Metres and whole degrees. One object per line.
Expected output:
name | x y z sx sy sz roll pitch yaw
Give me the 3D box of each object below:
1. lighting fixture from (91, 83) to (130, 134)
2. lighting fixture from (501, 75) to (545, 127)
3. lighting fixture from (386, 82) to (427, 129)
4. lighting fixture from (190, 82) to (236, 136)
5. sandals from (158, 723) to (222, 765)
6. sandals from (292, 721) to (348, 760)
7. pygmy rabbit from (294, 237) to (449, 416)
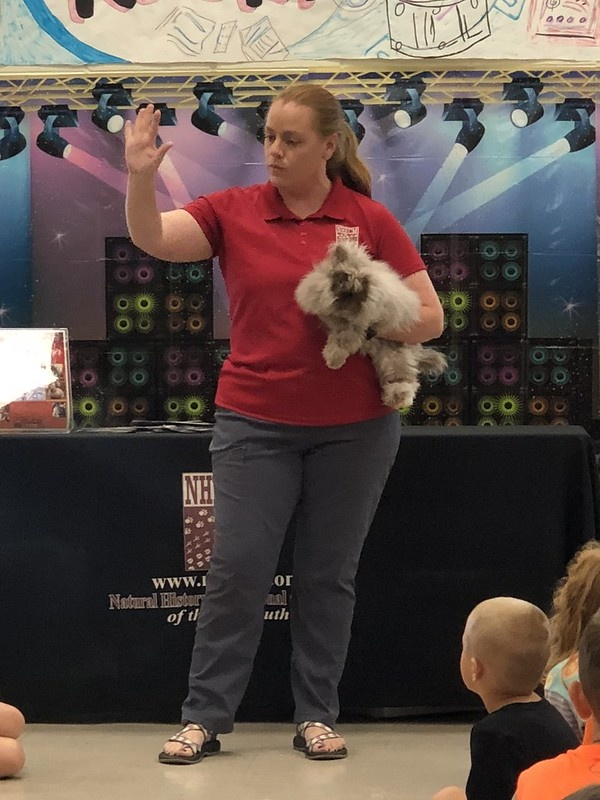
lighting fixture | -0.886 -1.365 3.989 0.218 0.176 0.146 4 -4 10
lighting fixture | 1.035 -1.384 3.946 0.209 0.230 0.185 -8 -28 -1
lighting fixture | 0.497 -1.372 3.967 0.191 0.143 0.210 -13 -45 11
lighting fixture | -0.424 -1.392 4.040 0.200 0.190 0.152 4 1 17
sandals | -0.250 0.779 1.934 0.072 0.055 0.145 -9 -14 39
sandals | 0.058 0.800 2.003 0.072 0.043 0.128 4 -11 -19
pygmy rabbit | 0.221 -0.157 1.987 0.540 0.303 0.275 7 12 -43
